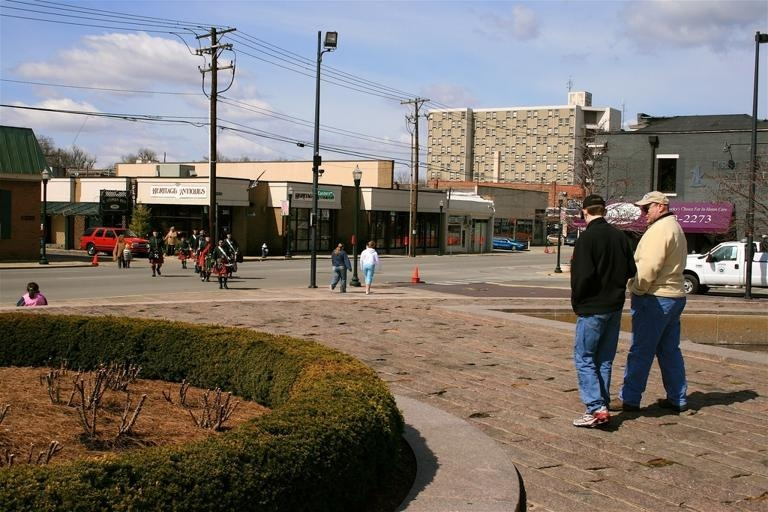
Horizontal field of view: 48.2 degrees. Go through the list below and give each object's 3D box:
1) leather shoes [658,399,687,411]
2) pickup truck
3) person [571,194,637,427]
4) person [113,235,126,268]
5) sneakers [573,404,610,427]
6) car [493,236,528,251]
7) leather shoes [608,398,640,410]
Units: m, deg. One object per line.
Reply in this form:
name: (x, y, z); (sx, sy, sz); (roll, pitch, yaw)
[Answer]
leather shoes: (3.660, 1.913, 10.965); (0.132, 0.130, 0.325); (-7, 14, -33)
pickup truck: (10.703, 0.441, 26.869); (3.325, 1.426, 1.902); (1, 0, 14)
person: (2.589, 0.650, 10.512); (0.822, 2.819, 0.566); (-2, 3, -39)
person: (-11.280, -0.210, 36.626); (0.356, 1.342, 2.967); (-1, 2, -18)
sneakers: (2.495, 1.959, 10.351); (0.471, 0.204, 0.193); (-3, -1, 3)
car: (10.868, -1.107, 76.068); (3.105, 0.956, 1.382); (1, 5, 9)
leather shoes: (3.012, 1.900, 10.928); (0.394, 0.163, 0.141); (-1, 4, 3)
